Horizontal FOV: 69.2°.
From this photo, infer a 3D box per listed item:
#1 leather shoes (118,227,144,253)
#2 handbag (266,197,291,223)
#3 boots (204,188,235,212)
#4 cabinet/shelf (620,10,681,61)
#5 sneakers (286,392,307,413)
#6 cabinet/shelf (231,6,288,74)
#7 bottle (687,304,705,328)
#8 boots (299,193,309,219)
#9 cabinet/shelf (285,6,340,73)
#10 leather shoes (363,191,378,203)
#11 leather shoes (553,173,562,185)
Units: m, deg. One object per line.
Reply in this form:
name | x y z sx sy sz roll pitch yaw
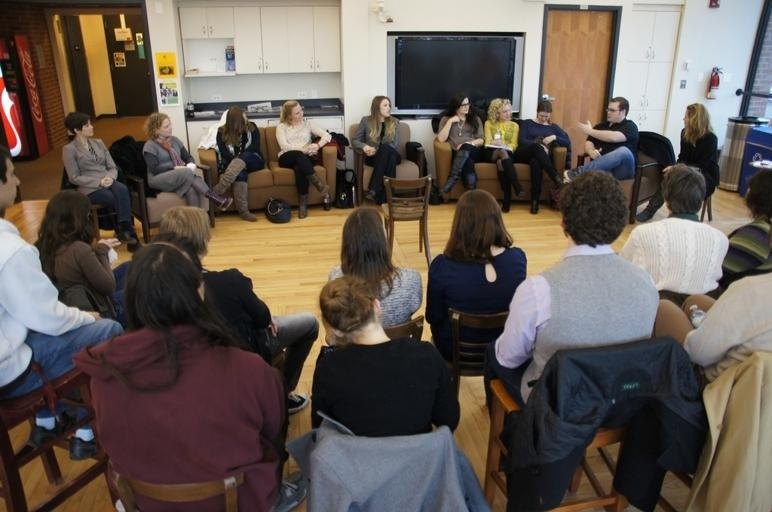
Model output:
leather shoes | -2.693 -0.172 5.860 0.166 0.231 0.444 -17 24 -42
handbag | -1.342 -0.566 6.969 0.326 0.208 0.237 34 56 24
boots | -2.027 -0.711 6.707 0.272 0.145 0.375 31 -22 -34
cabinet/shelf | 3.980 -3.362 8.465 0.636 0.664 0.283 -2 31 1
sneakers | -0.583 0.968 3.726 0.113 0.099 0.138 -1 21 0
cabinet/shelf | -1.772 -3.031 7.772 0.731 0.903 0.338 -1 23 -7
bottle | 1.718 0.328 3.088 0.052 0.110 0.056 1 -17 0
boots | -0.998 -0.635 7.097 0.115 0.280 0.286 0 29 -3
cabinet/shelf | -1.060 -3.080 7.867 0.739 0.870 0.319 0 24 -5
leather shoes | -0.217 -0.776 7.343 0.095 0.213 0.289 -2 -5 9
leather shoes | 2.225 -0.992 7.241 0.074 0.192 0.174 -1 -7 6
